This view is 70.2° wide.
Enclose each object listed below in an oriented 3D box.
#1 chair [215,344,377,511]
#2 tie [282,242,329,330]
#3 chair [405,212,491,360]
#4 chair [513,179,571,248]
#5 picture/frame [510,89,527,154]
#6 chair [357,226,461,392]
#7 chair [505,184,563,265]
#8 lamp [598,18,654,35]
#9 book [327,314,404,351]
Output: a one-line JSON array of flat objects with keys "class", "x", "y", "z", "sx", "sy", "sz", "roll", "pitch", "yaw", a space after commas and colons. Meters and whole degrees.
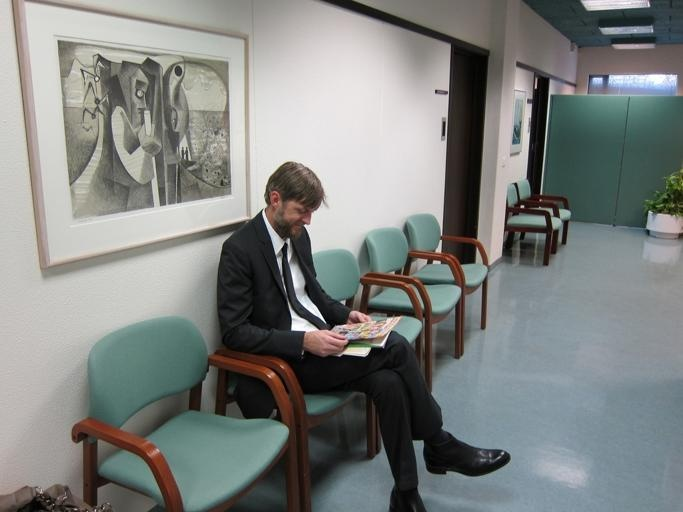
[{"class": "chair", "x": -0.142, "y": 0.687, "z": 2.663, "sx": 0.695, "sy": 1.042, "sz": 0.871, "roll": 0, "pitch": 1, "yaw": 33}, {"class": "tie", "x": -0.232, "y": 0.178, "z": 2.561, "sx": 0.083, "sy": 0.409, "sz": 0.289, "roll": -18, "pitch": -2, "yaw": -19}, {"class": "chair", "x": 0.914, "y": 0.220, "z": 4.303, "sx": 0.841, "sy": 1.143, "sz": 0.880, "roll": -8, "pitch": 15, "yaw": -17}, {"class": "chair", "x": 3.030, "y": -0.615, "z": 7.395, "sx": 0.798, "sy": 1.017, "sz": 0.650, "roll": 13, "pitch": 27, "yaw": 40}, {"class": "picture/frame", "x": 2.489, "y": -1.934, "z": 6.868, "sx": 0.063, "sy": 1.092, "sz": 0.864, "roll": 9, "pitch": 22, "yaw": 24}, {"class": "chair", "x": 0.517, "y": 0.361, "z": 3.743, "sx": 0.762, "sy": 1.113, "sz": 0.867, "roll": 1, "pitch": 14, "yaw": 18}, {"class": "chair", "x": 2.690, "y": -0.522, "z": 6.822, "sx": 0.726, "sy": 0.948, "sz": 1.430, "roll": 4, "pitch": 15, "yaw": 24}, {"class": "lamp", "x": 4.778, "y": -3.818, "z": 8.128, "sx": 0.757, "sy": 0.202, "sz": 1.071, "roll": 7, "pitch": 17, "yaw": 34}, {"class": "book", "x": 0.111, "y": 0.376, "z": 2.408, "sx": 0.176, "sy": 0.050, "sz": 0.198, "roll": -1, "pitch": 20, "yaw": 31}]
